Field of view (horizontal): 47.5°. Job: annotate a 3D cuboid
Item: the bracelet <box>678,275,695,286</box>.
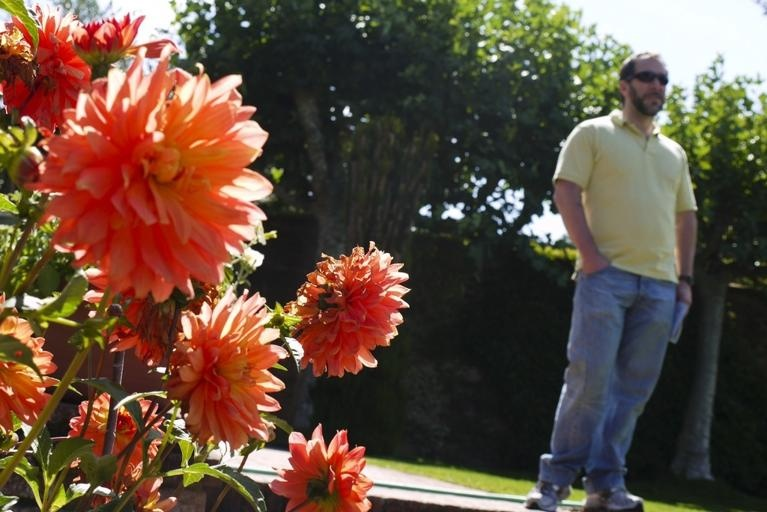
[{"bbox_3d":[1.558,0.130,4.473,0.070,0.052,0.080,4,-8,4],"label":"bracelet"}]
